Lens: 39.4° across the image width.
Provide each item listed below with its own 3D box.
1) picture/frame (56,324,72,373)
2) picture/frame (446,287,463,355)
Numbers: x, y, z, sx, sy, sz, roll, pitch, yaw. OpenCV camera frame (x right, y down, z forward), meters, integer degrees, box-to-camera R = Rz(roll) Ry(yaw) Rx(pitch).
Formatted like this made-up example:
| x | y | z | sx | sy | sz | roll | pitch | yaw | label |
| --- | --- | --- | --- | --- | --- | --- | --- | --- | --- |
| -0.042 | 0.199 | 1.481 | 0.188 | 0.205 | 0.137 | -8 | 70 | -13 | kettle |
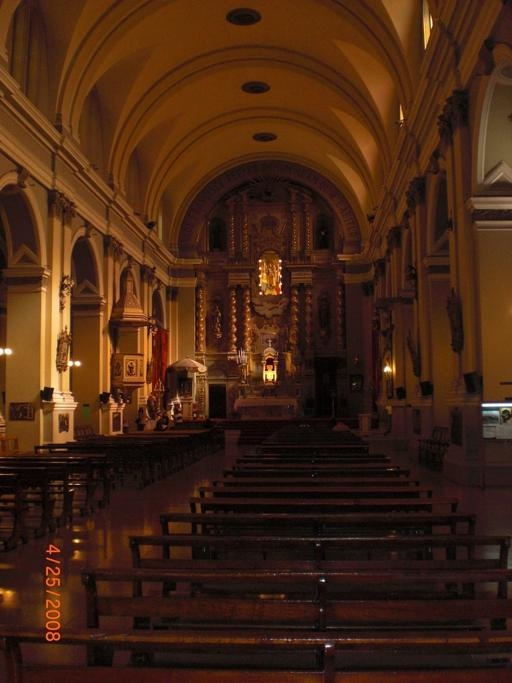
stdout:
| x | y | z | sx | sy | sz | roll | pitch | yaw | label |
| --- | --- | --- | --- | --- | --- | --- | --- | --- | --- |
| -4.215 | 0.175 | 15.823 | 0.099 | 0.995 | 0.391 | 6 | 0 | 28 | picture/frame |
| 3.290 | -0.371 | 11.793 | 0.181 | 1.145 | 0.509 | -3 | -8 | 8 | picture/frame |
